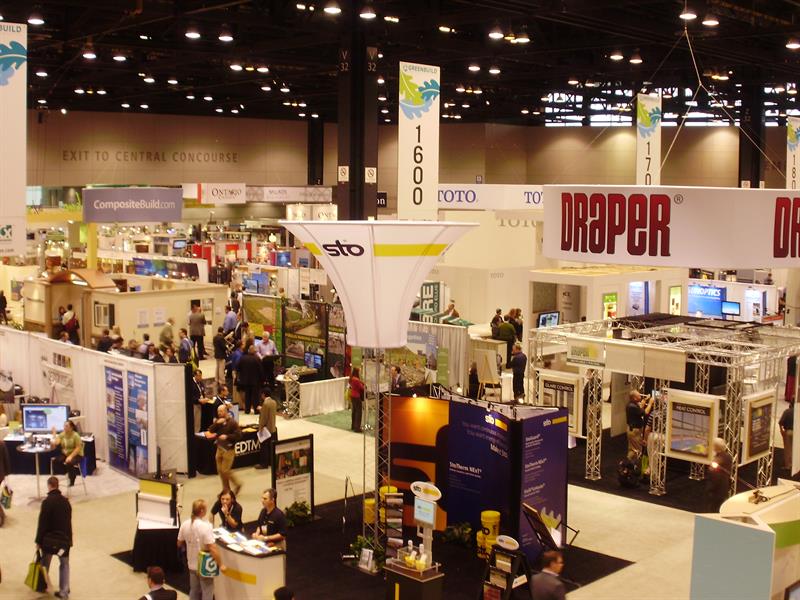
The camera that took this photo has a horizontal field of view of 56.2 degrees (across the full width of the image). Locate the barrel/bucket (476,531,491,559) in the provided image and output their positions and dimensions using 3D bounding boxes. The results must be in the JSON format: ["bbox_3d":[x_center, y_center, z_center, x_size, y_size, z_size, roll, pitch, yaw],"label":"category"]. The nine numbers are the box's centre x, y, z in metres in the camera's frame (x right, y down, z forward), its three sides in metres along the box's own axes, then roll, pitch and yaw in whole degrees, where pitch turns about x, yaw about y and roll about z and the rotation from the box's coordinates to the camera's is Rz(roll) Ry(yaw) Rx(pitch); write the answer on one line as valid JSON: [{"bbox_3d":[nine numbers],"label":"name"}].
[{"bbox_3d":[1.118,3.290,10.057,0.253,0.269,0.263,1,2,0],"label":"barrel/bucket"}]

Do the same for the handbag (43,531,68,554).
[{"bbox_3d":[-4.145,2.906,8.949,0.229,0.211,0.101,3,-4,-6],"label":"handbag"}]

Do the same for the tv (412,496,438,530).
[{"bbox_3d":[0.285,2.498,8.805,0.276,0.358,0.203,-1,4,16],"label":"tv"}]

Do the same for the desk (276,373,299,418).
[{"bbox_3d":[-2.457,2.052,16.101,0.577,1.038,0.616,-1,14,-23],"label":"desk"}]

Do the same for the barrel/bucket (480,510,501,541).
[{"bbox_3d":[1.184,3.017,10.010,0.295,0.332,0.312,1,4,0],"label":"barrel/bucket"}]

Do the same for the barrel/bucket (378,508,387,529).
[{"bbox_3d":[-0.247,2.938,10.061,0.112,0.320,0.077,-1,4,17],"label":"barrel/bucket"}]

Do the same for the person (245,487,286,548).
[{"bbox_3d":[-1.600,2.676,8.978,0.414,0.774,0.414,2,4,29],"label":"person"}]

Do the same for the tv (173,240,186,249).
[{"bbox_3d":[-9.136,-2.276,30.934,0.520,0.307,0.347,-3,4,-39],"label":"tv"}]
